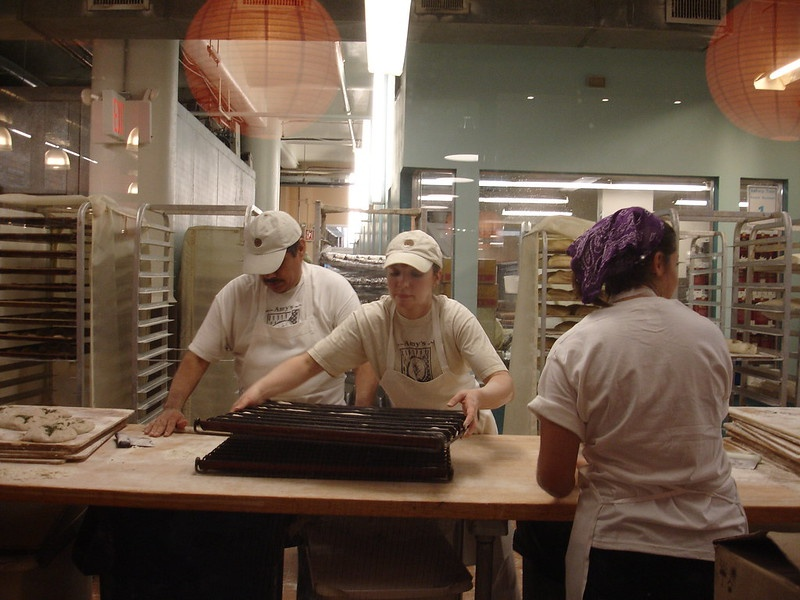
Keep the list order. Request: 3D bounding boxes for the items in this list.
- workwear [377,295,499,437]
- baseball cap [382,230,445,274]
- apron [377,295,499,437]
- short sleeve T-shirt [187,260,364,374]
[{"bbox_3d":[0.155,0.311,3.162,0.544,0.776,0.399,-10,-7,8],"label":"workwear"},{"bbox_3d":[0.059,-0.227,3.204,0.270,0.200,0.200,1,2,-1],"label":"baseball cap"},{"bbox_3d":[0.155,0.311,3.162,0.544,0.776,0.399,-10,-7,8],"label":"apron"},{"bbox_3d":[-0.678,0.038,3.572,0.953,0.558,0.474,-8,6,5],"label":"short sleeve T-shirt"}]
